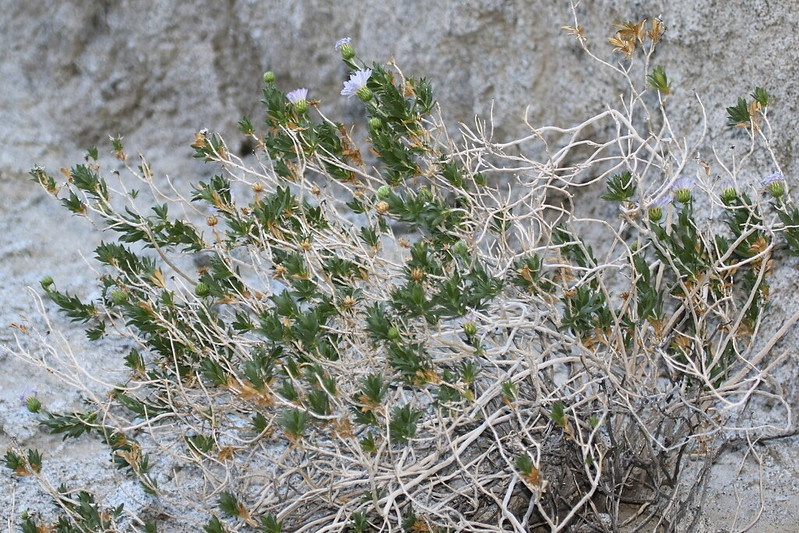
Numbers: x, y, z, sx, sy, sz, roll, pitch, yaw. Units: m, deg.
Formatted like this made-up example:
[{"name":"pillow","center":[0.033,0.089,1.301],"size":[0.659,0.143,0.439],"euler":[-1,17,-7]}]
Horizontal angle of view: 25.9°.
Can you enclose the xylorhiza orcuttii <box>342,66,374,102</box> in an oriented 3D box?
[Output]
[{"name":"xylorhiza orcuttii","center":[-0.201,-0.847,8.042],"size":[0.151,0.116,0.135],"euler":[-16,48,12]}]
